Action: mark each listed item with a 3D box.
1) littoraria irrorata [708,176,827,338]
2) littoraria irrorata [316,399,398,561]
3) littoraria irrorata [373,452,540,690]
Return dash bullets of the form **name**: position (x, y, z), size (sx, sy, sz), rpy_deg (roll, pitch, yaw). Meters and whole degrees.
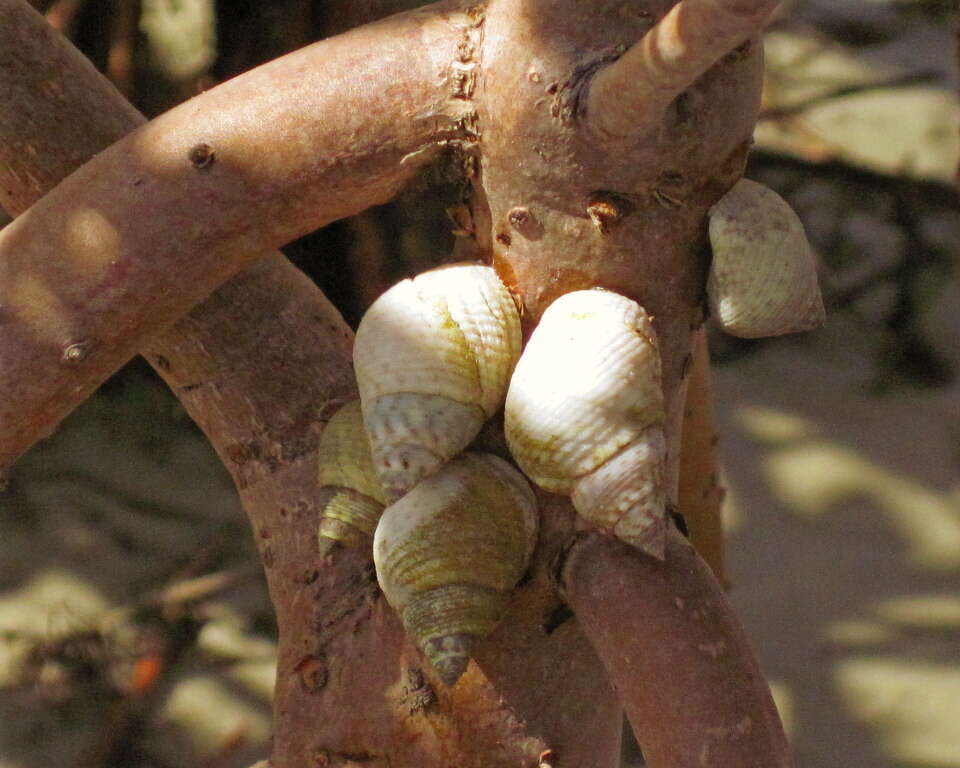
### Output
- **littoraria irrorata**: position (0.503, -0.223, 3.521), size (0.208, 0.087, 0.271), rpy_deg (2, 93, -26)
- **littoraria irrorata**: position (-0.240, 0.174, 3.587), size (0.067, 0.182, 0.233), rpy_deg (4, 87, -44)
- **littoraria irrorata**: position (-0.042, 0.334, 3.491), size (0.281, 0.176, 0.370), rpy_deg (-4, 76, 27)
